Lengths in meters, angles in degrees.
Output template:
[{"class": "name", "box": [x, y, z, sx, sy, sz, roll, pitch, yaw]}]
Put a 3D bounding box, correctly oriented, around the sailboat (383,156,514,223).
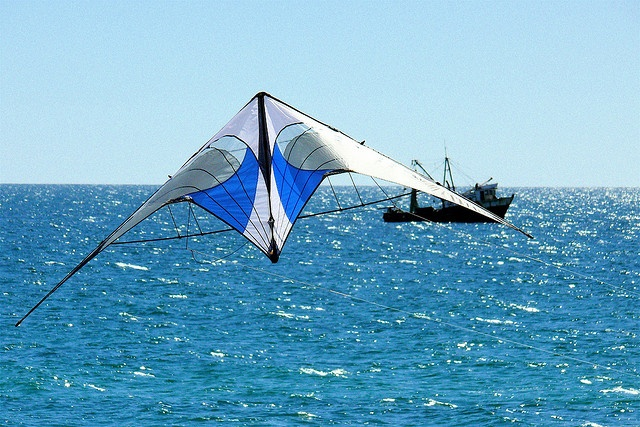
[{"class": "sailboat", "box": [19.253, -3.404, 154.680, 19.532, 9.245, 4.716, -1, -1, 20]}]
